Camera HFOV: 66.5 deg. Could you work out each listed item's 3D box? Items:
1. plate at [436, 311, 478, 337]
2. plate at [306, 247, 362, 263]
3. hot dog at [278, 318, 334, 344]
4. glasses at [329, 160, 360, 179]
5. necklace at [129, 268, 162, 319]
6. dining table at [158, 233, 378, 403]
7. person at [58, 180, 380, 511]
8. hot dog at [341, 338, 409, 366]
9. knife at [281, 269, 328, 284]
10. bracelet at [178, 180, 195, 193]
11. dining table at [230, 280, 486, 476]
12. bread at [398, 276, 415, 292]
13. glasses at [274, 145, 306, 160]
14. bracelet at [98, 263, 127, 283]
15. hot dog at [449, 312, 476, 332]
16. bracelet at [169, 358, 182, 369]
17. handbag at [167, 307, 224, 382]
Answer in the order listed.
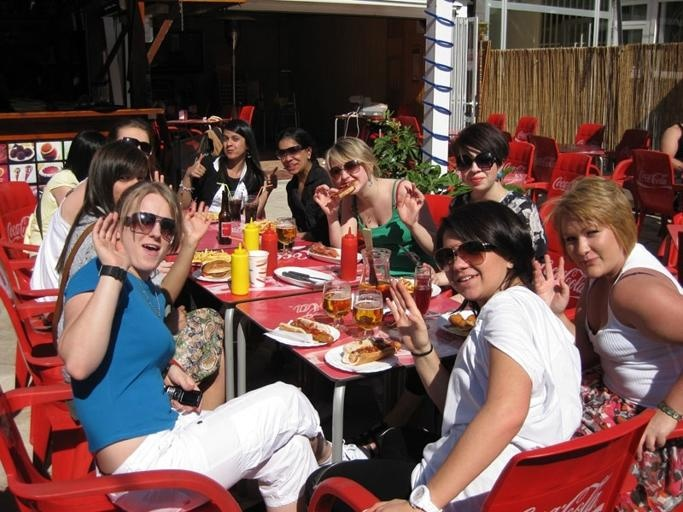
[{"bbox_3d":[0.565,0.314,2.516,0.144,0.060,0.154,-11,13,-4],"label":"plate"},{"bbox_3d":[-0.117,-0.006,3.548,0.154,0.041,0.220,-9,15,-38],"label":"plate"},{"bbox_3d":[-0.142,0.306,2.397,0.112,0.067,0.212,-12,18,-43],"label":"hot dog"},{"bbox_3d":[0.021,-0.629,3.747,0.242,0.125,0.075,7,12,33],"label":"glasses"},{"bbox_3d":[-0.818,0.158,2.219,0.066,0.195,0.143,-35,-17,24],"label":"necklace"},{"bbox_3d":[-0.424,0.280,2.824,0.685,0.755,0.693,-3,9,-29],"label":"dining table"},{"bbox_3d":[-0.614,0.218,2.798,1.350,1.928,1.024,-7,18,-24],"label":"person"},{"bbox_3d":[0.129,0.392,2.243,0.203,0.072,0.105,-9,16,-33],"label":"hot dog"},{"bbox_3d":[-0.227,0.121,3.069,0.166,0.027,0.108,18,20,39],"label":"knife"},{"bbox_3d":[-1.520,-0.667,5.111,0.114,0.056,0.151,1,49,-11],"label":"bracelet"},{"bbox_3d":[0.053,0.370,2.603,0.836,0.718,0.815,-7,14,-31],"label":"dining table"},{"bbox_3d":[0.378,0.144,2.946,0.090,0.042,0.133,3,2,6],"label":"bread"},{"bbox_3d":[-0.483,-0.977,4.870,0.299,0.140,0.135,4,11,20],"label":"glasses"},{"bbox_3d":[-0.784,0.055,1.793,0.070,0.058,0.080,-5,-12,27],"label":"bracelet"},{"bbox_3d":[0.584,0.304,2.524,0.086,0.049,0.105,-7,14,3],"label":"hot dog"},{"bbox_3d":[-0.794,0.502,2.481,0.047,0.040,0.050,2,4,-18],"label":"bracelet"},{"bbox_3d":[-0.784,0.465,2.811,0.257,0.388,0.139,-3,-5,32],"label":"handbag"}]
